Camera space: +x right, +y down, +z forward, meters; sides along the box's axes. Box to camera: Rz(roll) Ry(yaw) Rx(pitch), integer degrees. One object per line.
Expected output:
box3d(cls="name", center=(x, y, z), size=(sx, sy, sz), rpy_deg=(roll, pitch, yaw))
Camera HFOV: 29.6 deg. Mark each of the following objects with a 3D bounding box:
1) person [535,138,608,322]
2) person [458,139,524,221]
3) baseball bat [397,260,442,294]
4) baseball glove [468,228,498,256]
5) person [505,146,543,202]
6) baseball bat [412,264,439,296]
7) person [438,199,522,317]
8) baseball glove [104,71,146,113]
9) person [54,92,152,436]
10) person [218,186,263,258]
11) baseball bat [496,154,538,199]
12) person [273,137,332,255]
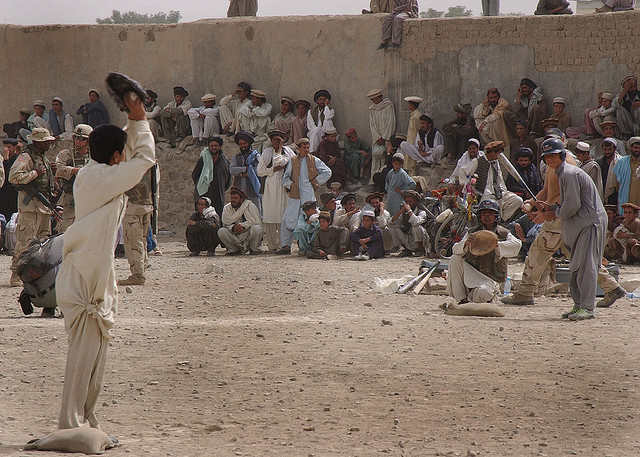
box3d(cls="person", center=(3.025, 0.007, 14.389), size=(0.702, 2.114, 0.611), rpy_deg=(2, 14, 12))
box3d(cls="person", center=(2.679, -0.649, 18.893), size=(0.975, 1.386, 0.671), rpy_deg=(-5, 13, 3))
box3d(cls="baseball bat", center=(1.383, 0.680, 16.687), size=(0.085, 0.082, 0.725), rpy_deg=(34, 51, 31))
box3d(cls="baseball glove", center=(2.041, 0.171, 15.225), size=(0.355, 0.323, 0.214), rpy_deg=(1, 14, 7))
box3d(cls="person", center=(3.301, -0.907, 19.415), size=(0.576, 0.775, 0.606), rpy_deg=(-5, 6, 44))
box3d(cls="baseball bat", center=(1.419, 0.690, 16.368), size=(0.128, 0.080, 0.758), rpy_deg=(28, 40, 16))
box3d(cls="person", center=(2.105, 0.422, 15.998), size=(1.275, 1.741, 0.993), rpy_deg=(-2, -23, 25))
box3d(cls="baseball glove", center=(-1.885, -1.326, 11.726), size=(0.395, 0.392, 0.257), rpy_deg=(3, 14, 14))
box3d(cls="person", center=(-2.086, 0.317, 11.496), size=(0.718, 3.115, 1.337), rpy_deg=(4, 15, 18))
box3d(cls="person", center=(-1.324, -0.098, 19.727), size=(0.779, 1.071, 0.613), rpy_deg=(-9, 16, -31))
box3d(cls="baseball bat", center=(3.115, -0.826, 19.194), size=(0.148, 1.128, 0.182), rpy_deg=(-33, 24, 28))
box3d(cls="person", center=(-0.316, -0.551, 20.204), size=(0.831, 1.814, 0.928), rpy_deg=(3, 14, 16))
